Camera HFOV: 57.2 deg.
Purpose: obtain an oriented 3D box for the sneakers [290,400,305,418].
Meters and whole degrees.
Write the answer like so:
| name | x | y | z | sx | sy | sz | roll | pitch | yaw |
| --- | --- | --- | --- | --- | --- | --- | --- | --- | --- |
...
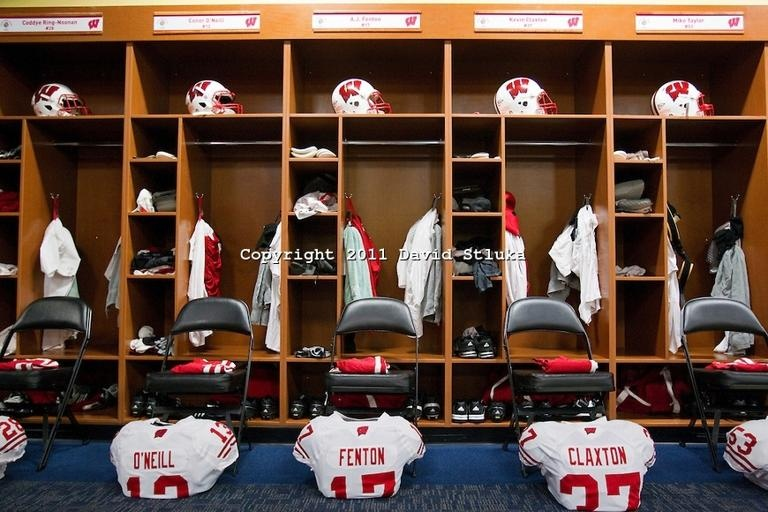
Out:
| name | x | y | z | sx | sy | sz | roll | pitch | yaw |
| --- | --- | --- | --- | --- | --- | --- | --- | --- | --- |
| sneakers | -0.723 | 1.294 | 5.961 | 0.106 | 0.127 | 0.134 | -1 | -23 | 0 |

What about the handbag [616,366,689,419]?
| name | x | y | z | sx | sy | sz | roll | pitch | yaw |
| --- | --- | --- | --- | --- | --- | --- | --- | --- | --- |
| handbag | 2.339 | 1.190 | 6.110 | 0.450 | 0.461 | 0.165 | 0 | -10 | 12 |

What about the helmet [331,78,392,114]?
| name | x | y | z | sx | sy | sz | roll | pitch | yaw |
| --- | --- | --- | --- | --- | --- | --- | --- | --- | --- |
| helmet | -0.193 | -1.411 | 6.128 | 0.448 | 0.251 | 0.309 | 0 | 18 | -3 |

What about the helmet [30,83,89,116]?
| name | x | y | z | sx | sy | sz | roll | pitch | yaw |
| --- | --- | --- | --- | --- | --- | --- | --- | --- | --- |
| helmet | -2.864 | -1.357 | 6.223 | 0.420 | 0.233 | 0.299 | 2 | 10 | -6 |

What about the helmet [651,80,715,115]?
| name | x | y | z | sx | sy | sz | roll | pitch | yaw |
| --- | --- | --- | --- | --- | --- | --- | --- | --- | --- |
| helmet | 2.645 | -1.402 | 6.206 | 0.434 | 0.257 | 0.321 | -1 | 18 | 7 |

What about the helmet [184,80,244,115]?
| name | x | y | z | sx | sy | sz | roll | pitch | yaw |
| --- | --- | --- | --- | --- | --- | --- | --- | --- | --- |
| helmet | -1.484 | -1.397 | 6.236 | 0.461 | 0.272 | 0.311 | 1 | 20 | -8 |

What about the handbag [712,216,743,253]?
| name | x | y | z | sx | sy | sz | roll | pitch | yaw |
| --- | --- | --- | --- | --- | --- | --- | --- | --- | --- |
| handbag | 3.056 | -0.192 | 6.232 | 0.111 | 0.300 | 0.228 | 13 | -6 | -16 |

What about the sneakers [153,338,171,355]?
| name | x | y | z | sx | sy | sz | roll | pitch | yaw |
| --- | --- | --- | --- | --- | --- | --- | --- | --- | --- |
| sneakers | -1.870 | 0.763 | 5.939 | 0.114 | 0.157 | 0.343 | -2 | -10 | 1 |

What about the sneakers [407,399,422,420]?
| name | x | y | z | sx | sy | sz | roll | pitch | yaw |
| --- | --- | --- | --- | --- | --- | --- | --- | --- | --- |
| sneakers | 0.255 | 1.233 | 5.654 | 0.112 | 0.118 | 0.277 | 0 | -2 | 5 |
